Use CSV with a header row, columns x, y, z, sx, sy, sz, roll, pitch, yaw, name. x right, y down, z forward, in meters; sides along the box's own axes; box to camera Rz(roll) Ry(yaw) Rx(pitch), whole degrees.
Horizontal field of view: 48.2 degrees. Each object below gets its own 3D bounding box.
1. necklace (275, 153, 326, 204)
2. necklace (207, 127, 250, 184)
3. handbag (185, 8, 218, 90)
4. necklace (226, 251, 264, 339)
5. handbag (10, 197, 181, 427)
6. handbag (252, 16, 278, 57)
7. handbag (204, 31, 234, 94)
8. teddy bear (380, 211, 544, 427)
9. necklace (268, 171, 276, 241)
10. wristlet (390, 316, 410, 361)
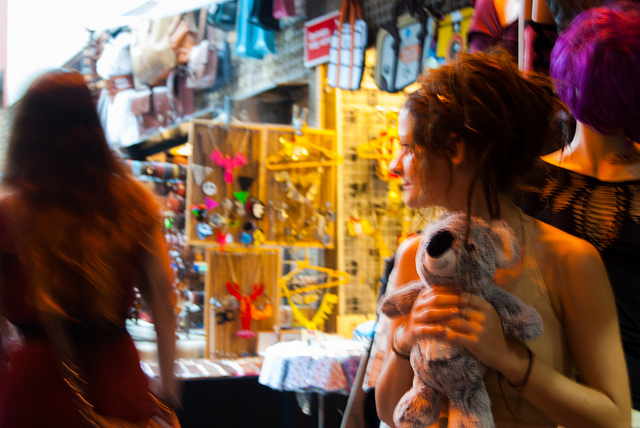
x,y,z,sx,sy,sz,roll,pitch,yaw,name
-0.104,-0.245,4.813,0.280,0.316,0.070,4,0,-25,necklace
-0.604,-0.387,4.644,0.311,0.476,0.037,-2,4,-14,necklace
-0.814,-1.165,5.015,0.190,0.534,0.372,-6,9,-33,handbag
-0.477,0.509,4.583,0.227,0.634,0.118,3,23,-1,necklace
-0.771,0.342,2.398,0.516,0.797,0.187,1,8,10,handbag
-0.305,-1.053,4.211,0.083,0.188,0.237,-34,25,-20,handbag
-0.740,-1.153,5.487,0.121,0.420,0.270,5,4,36,handbag
0.395,0.295,1.895,0.486,0.709,0.237,-2,-8,38,teddy bear
-0.316,-0.057,4.731,0.048,0.446,0.122,-1,7,-4,necklace
0.213,0.349,1.981,0.081,0.102,0.032,9,-7,-34,wristlet
